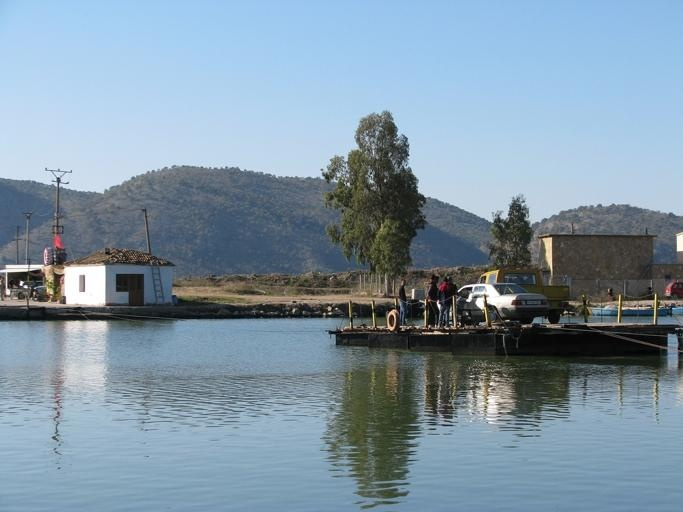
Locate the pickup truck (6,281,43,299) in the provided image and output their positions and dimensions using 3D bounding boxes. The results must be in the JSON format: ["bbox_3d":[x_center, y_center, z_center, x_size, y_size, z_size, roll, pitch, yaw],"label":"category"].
[{"bbox_3d":[-23.181,2.644,95.101,4.024,1.165,1.899,-3,-2,36],"label":"pickup truck"}]

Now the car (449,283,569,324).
[{"bbox_3d":[6.156,1.950,52.411,2.030,1.622,4.947,2,-4,-24],"label":"car"}]

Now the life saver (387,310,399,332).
[{"bbox_3d":[2.122,2.770,54.737,0.286,0.895,1.012,1,-3,-14],"label":"life saver"}]
